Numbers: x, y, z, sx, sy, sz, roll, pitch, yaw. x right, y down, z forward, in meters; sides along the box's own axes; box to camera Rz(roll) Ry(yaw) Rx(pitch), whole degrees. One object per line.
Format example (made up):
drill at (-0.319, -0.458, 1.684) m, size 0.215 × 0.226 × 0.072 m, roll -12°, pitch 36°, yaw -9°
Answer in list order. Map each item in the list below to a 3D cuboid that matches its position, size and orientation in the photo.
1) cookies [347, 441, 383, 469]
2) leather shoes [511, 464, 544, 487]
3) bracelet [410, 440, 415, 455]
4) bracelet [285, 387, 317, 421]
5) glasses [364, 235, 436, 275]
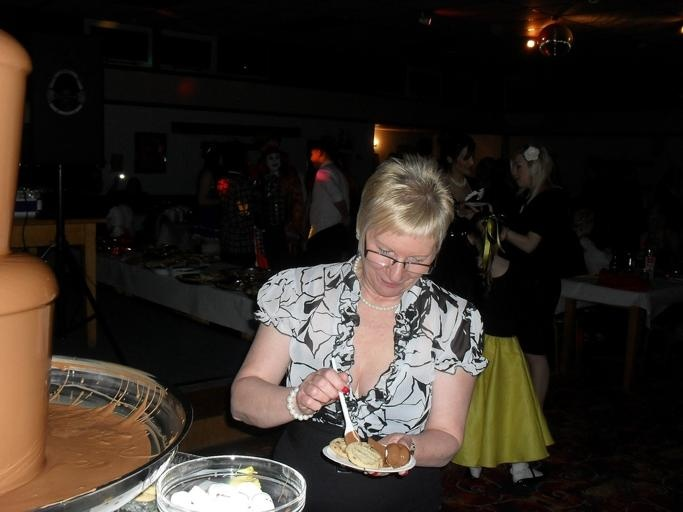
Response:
cookies at (0.047, 0.406, 1.079) m, size 0.042 × 0.011 × 0.045 m, roll 28°, pitch 4°, yaw 35°
leather shoes at (1.054, 1.256, 2.989) m, size 0.162 × 0.178 × 0.081 m, roll -7°, pitch 10°, yaw -17°
bracelet at (0.174, 0.461, 1.261) m, size 0.013 × 0.040 × 0.027 m, roll 1°, pitch -8°, yaw 15°
bracelet at (-0.105, 0.369, 1.291) m, size 0.064 × 0.089 × 0.027 m, roll 6°, pitch 7°, yaw 31°
glasses at (0.155, 0.003, 1.411) m, size 0.190 × 0.078 × 0.096 m, roll 5°, pitch 6°, yaw 6°
